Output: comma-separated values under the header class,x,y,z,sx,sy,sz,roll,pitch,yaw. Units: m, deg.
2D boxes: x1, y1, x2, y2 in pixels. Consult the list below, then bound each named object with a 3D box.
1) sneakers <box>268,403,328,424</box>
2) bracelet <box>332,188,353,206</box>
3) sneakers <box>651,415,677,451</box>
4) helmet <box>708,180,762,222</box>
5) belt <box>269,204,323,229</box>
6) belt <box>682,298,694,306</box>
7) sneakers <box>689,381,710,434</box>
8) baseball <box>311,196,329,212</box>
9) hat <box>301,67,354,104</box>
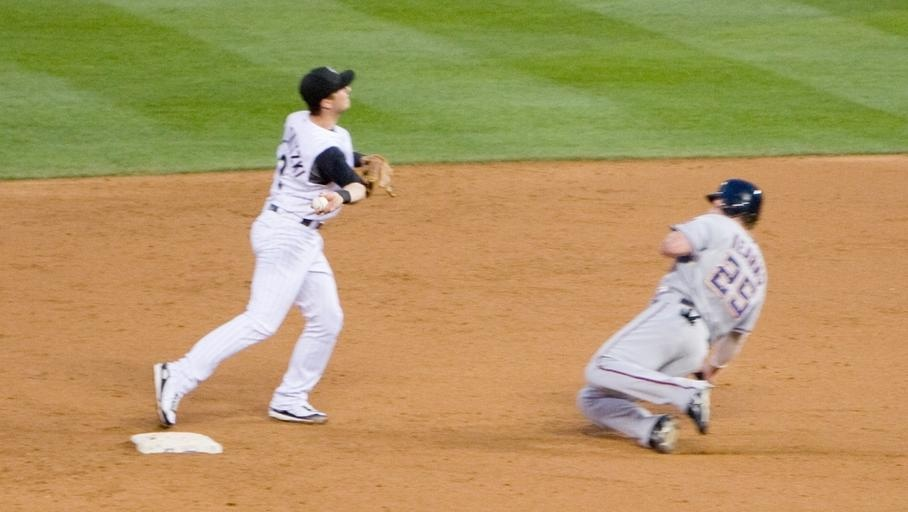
class,x,y,z,sx,sy,sz,roll,pitch,yaw
sneakers,-1.732,1.769,19.762,0.786,0.167,0.204,1,4,2
bracelet,-1.244,-0.645,19.319,0.164,0.162,0.233,-12,28,-44
sneakers,2.298,1.963,19.510,0.286,0.426,0.173,17,25,10
helmet,3.162,-0.627,19.699,0.812,0.282,0.431,19,15,5
belt,-1.776,-0.420,19.670,0.549,0.081,0.311,15,6,1
belt,2.542,0.513,19.480,0.092,0.110,0.030,-32,18,48
sneakers,2.685,1.681,19.291,0.275,0.460,0.258,-2,10,12
baseball,-1.447,-0.557,19.151,0.182,0.172,0.113,8,24,-5
hat,-1.433,-1.857,19.632,0.548,0.438,0.285,5,24,-10
